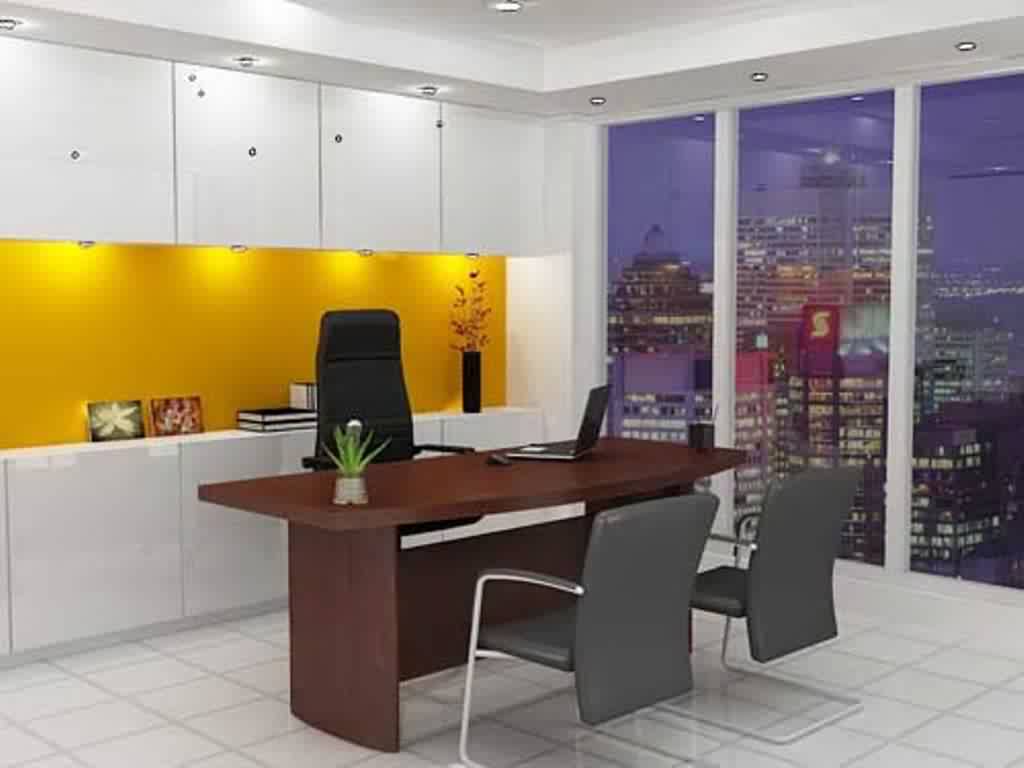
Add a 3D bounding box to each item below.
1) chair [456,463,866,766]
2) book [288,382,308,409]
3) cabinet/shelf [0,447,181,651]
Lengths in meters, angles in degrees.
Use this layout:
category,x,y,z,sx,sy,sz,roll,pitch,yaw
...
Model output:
category,x,y,z,sx,sy,sz,roll,pitch,yaw
chair,0.628,1.067,3.881,1.192,0.739,0.536,-2,2,-40
book,-1.501,0.082,6.113,0.161,0.231,0.170,-1,6,-25
cabinet/shelf,-2.410,0.912,4.869,1.100,1.139,0.394,-2,4,-41
